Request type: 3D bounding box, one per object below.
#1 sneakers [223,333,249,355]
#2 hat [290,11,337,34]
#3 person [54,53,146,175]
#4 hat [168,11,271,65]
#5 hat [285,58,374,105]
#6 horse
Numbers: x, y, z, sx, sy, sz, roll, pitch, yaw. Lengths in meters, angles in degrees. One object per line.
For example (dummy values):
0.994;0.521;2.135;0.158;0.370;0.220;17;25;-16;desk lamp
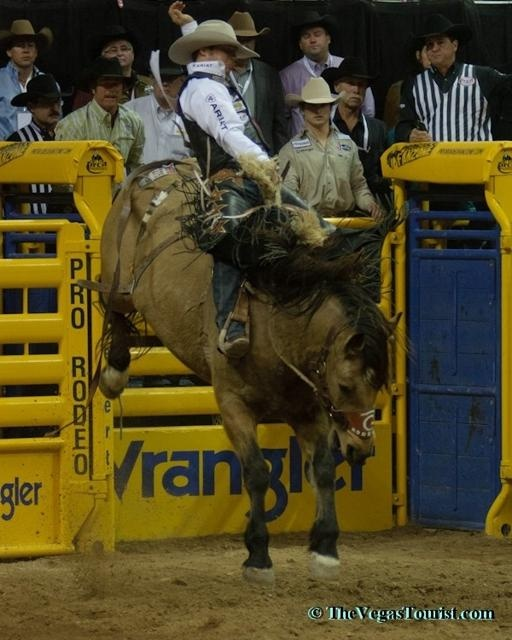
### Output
-0.125;0.138;6.390;0.128;0.137;0.138;6;7;40;sneakers
0.467;-2.621;10.163;0.365;0.116;0.339;1;-16;-2;hat
-1.245;-1.676;9.339;0.438;0.908;0.647;7;7;40;person
-0.254;-1.708;6.908;0.514;0.138;0.351;-3;-13;8;hat
0.455;-2.100;10.228;0.629;0.230;0.648;-1;35;15;hat
-0.114;0.204;6.851;0.595;2.368;2.101;-3;7;-42;horse
